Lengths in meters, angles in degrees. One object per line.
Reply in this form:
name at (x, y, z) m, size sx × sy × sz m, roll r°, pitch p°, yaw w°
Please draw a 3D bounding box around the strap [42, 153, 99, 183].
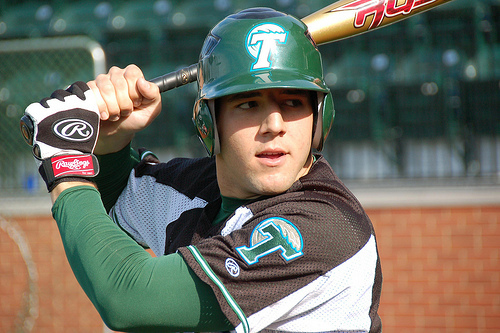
strap at (-1.362, 0.007, 6.730) m, size 0.361 × 0.210 × 0.107 m, roll -8°, pitch -10°, yaw -13°
